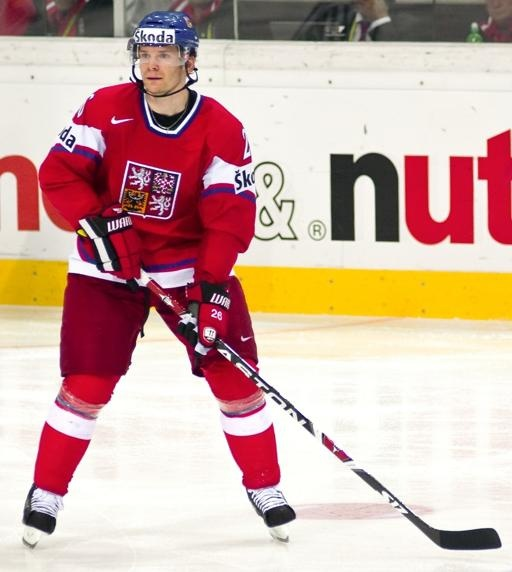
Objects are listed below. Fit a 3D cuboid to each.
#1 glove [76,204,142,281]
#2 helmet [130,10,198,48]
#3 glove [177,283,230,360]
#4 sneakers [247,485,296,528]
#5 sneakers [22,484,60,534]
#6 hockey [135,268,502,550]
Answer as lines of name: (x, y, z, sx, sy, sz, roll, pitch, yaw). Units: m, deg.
glove: (-0.317, -0.094, 2.316, 0.131, 0.160, 0.070, -25, 5, -27)
helmet: (-0.195, -0.576, 2.318, 0.104, 0.105, 0.123, 1, 3, 12)
glove: (-0.111, 0.072, 2.270, 0.134, 0.149, 0.075, 2, -5, -27)
sneakers: (0.033, 0.488, 2.278, 0.047, 0.053, 0.144, -27, 6, -9)
sneakers: (-0.453, 0.476, 2.203, 0.052, 0.051, 0.130, 12, 15, -15)
hockey: (0.207, 0.368, 3.089, 1.007, 0.101, 0.114, 36, 60, 17)
